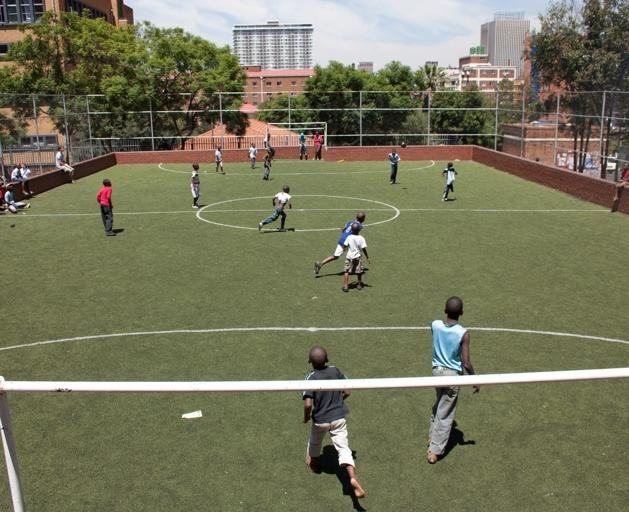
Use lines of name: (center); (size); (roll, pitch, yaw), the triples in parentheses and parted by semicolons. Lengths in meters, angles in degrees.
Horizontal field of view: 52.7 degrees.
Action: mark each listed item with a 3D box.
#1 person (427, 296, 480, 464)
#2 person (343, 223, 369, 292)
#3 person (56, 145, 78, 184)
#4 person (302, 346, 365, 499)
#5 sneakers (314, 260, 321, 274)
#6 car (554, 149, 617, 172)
person: (1.854, 1.688, 8.683); (0.548, 2.157, 1.015); (3, 15, 10)
person: (0.955, -0.023, 14.890); (0.550, 1.560, 0.954); (0, 15, 2)
person: (-12.675, -4.591, 32.288); (0.731, 1.832, 1.369); (-3, 15, -10)
person: (0.248, 2.091, 8.107); (0.764, 1.880, 1.246); (0, 15, -1)
sneakers: (0.063, 0.348, 15.919); (0.118, 0.338, 0.148); (8, 55, 6)
car: (11.623, -4.067, 27.423); (1.026, 0.773, 4.631); (-2, 15, -6)
